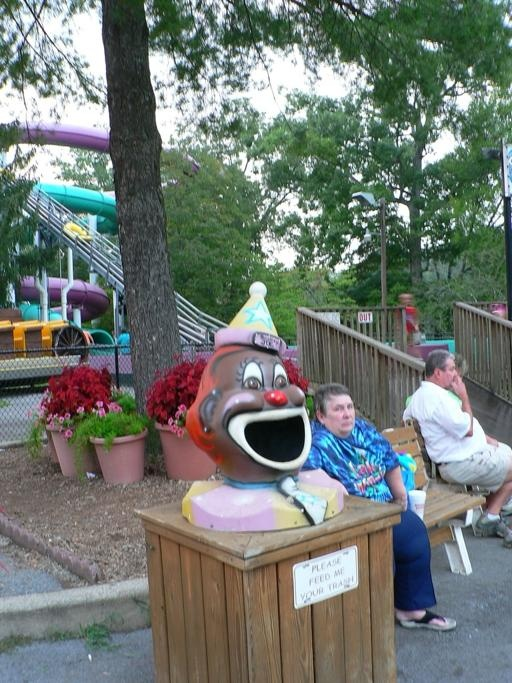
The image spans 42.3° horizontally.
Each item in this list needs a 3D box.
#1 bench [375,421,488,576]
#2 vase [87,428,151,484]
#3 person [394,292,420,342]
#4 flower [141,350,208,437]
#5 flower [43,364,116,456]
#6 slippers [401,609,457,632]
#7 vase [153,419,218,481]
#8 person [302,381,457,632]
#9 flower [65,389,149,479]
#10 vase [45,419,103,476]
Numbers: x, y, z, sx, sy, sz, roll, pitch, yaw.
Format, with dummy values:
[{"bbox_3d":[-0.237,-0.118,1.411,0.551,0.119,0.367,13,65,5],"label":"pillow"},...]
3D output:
[{"bbox_3d":[1.241,1.011,4.383,0.464,1.075,1.114,-4,-12,0],"label":"bench"},{"bbox_3d":[-1.207,1.034,5.829,0.331,0.442,0.418,-4,-1,23],"label":"vase"},{"bbox_3d":[3.840,-0.458,16.817,0.406,1.547,0.533,-6,-8,12],"label":"person"},{"bbox_3d":[-0.716,0.508,5.927,0.517,0.574,0.490,-3,3,-15],"label":"flower"},{"bbox_3d":[-1.703,0.685,6.606,0.504,1.065,0.655,-3,-3,19],"label":"flower"},{"bbox_3d":[0.858,1.410,3.307,0.242,0.144,0.129,-6,0,5],"label":"slippers"},{"bbox_3d":[-0.633,1.036,5.922,0.437,0.536,0.511,-2,-3,33],"label":"vase"},{"bbox_3d":[0.608,0.841,3.210,0.706,1.257,0.584,-1,3,5],"label":"person"},{"bbox_3d":[-1.270,0.866,5.987,0.536,0.937,0.600,-5,-4,36],"label":"flower"},{"bbox_3d":[-1.770,1.062,6.162,0.360,0.533,0.517,-2,-5,16],"label":"vase"}]
